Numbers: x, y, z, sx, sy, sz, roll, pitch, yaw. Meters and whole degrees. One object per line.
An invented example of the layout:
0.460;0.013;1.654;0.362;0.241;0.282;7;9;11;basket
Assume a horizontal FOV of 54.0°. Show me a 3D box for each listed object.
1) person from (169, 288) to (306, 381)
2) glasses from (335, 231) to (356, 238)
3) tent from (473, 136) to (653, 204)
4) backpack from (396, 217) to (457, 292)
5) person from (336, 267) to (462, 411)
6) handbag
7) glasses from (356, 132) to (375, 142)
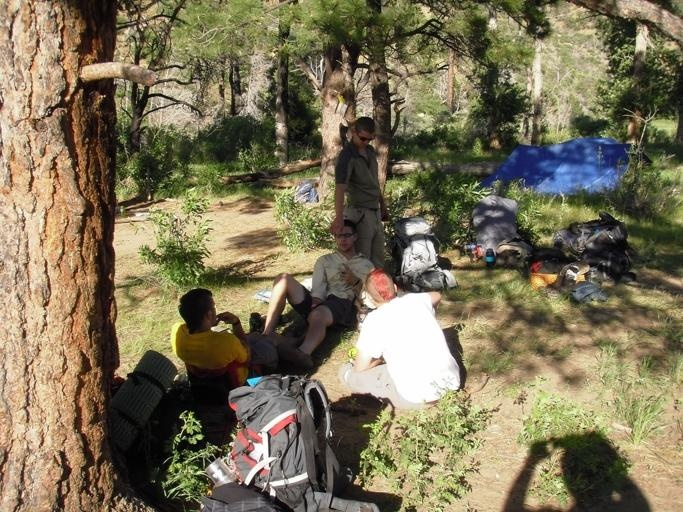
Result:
-0.962;0.626;6.164;0.560;0.974;1.459;2;15;24;person
0.051;-0.223;7.035;0.229;0.075;0.069;-6;13;-26;glasses
4.454;-1.791;13.588;2.189;0.693;1.741;-2;9;39;tent
1.067;0.005;8.504;0.762;0.487;0.801;-5;57;-14;backpack
0.495;0.734;5.640;0.991;1.167;0.379;4;12;19;person
3.174;-0.166;8.371;0.837;0.442;0.925;0;24;-37;handbag
0.294;-1.264;7.132;0.167;0.090;0.278;8;15;35;glasses
